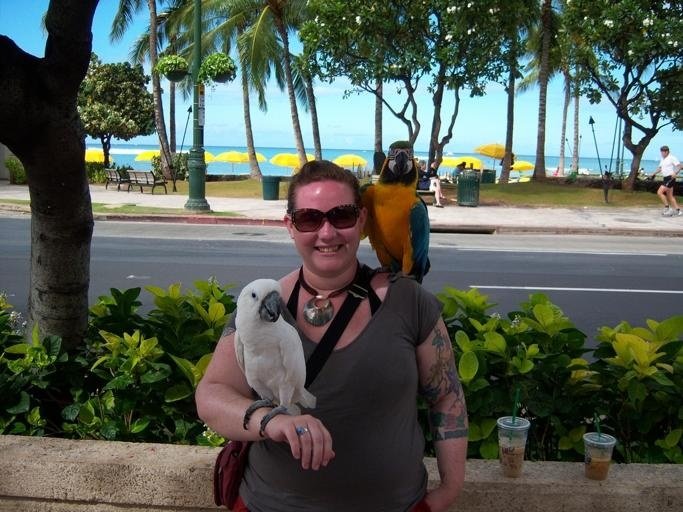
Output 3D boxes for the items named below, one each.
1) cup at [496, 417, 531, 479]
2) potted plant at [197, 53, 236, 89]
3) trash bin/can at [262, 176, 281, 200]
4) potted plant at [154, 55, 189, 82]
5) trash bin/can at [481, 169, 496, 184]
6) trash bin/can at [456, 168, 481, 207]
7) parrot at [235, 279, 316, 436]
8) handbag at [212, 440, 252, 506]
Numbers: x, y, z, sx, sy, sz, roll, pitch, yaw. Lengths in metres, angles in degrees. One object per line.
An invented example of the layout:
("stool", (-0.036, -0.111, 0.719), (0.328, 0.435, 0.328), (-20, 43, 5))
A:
("cup", (0.889, 1.008, 3.482), (0.183, 0.277, 0.176), (4, -2, 0))
("potted plant", (-3.369, -5.071, 17.935), (0.935, 0.863, 0.982), (-2, 8, -12))
("trash bin/can", (-2.452, -2.340, 23.110), (0.672, 0.873, 0.748), (0, 3, -2))
("potted plant", (-4.835, -5.389, 18.895), (0.818, 0.950, 2.305), (-3, 8, -15))
("trash bin/can", (7.868, -4.242, 35.592), (0.724, 0.552, 1.234), (1, 8, 9))
("trash bin/can", (4.287, -2.162, 22.436), (0.675, 1.332, 0.740), (1, -13, 9))
("parrot", (-0.276, 0.385, 2.786), (0.319, 0.590, 0.123), (-2, 7, -7))
("handbag", (-0.540, 1.031, 3.200), (0.230, 0.266, 0.250), (-2, 14, -23))
